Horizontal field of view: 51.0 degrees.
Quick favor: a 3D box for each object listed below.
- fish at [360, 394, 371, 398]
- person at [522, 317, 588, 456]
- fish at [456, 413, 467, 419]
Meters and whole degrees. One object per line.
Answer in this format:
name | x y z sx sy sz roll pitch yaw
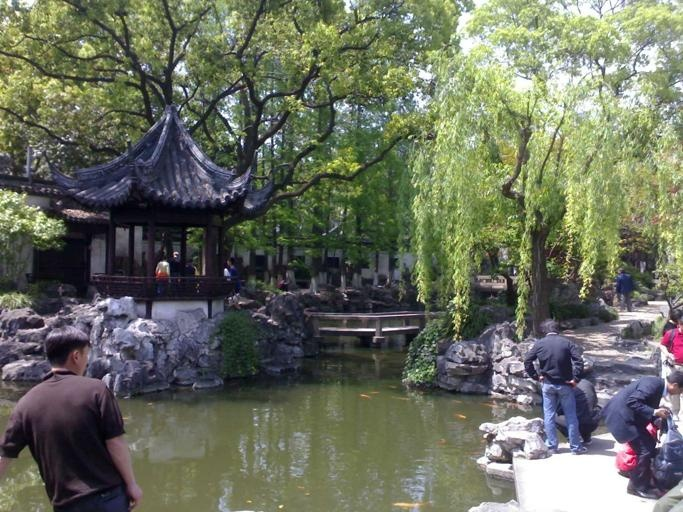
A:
fish | 0.686 4.161 21.147 0.259 0.062 0.431 -2 14 -8
person | 4.668 2.869 15.523 1.319 2.697 0.746 6 15 22
fish | 3.228 4.353 19.337 0.245 0.076 0.125 15 42 39
